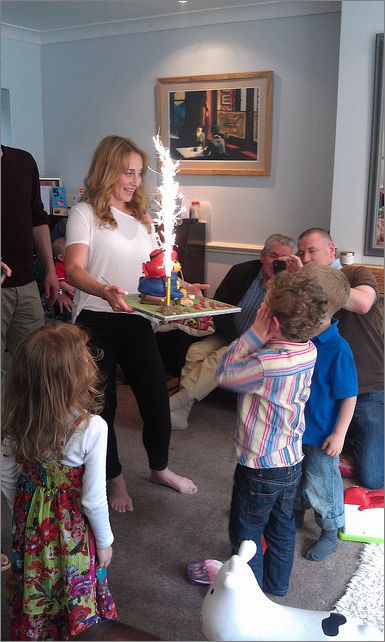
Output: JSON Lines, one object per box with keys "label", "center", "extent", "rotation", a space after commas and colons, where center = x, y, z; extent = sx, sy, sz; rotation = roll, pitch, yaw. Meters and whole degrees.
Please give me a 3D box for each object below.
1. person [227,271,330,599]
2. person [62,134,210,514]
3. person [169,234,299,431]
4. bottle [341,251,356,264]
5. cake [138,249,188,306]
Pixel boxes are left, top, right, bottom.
{"label": "person", "center": [0.197, 0.300, 1.333], "extent": [0.247, 0.832, 0.191], "rotation": [-3, 12, -15]}
{"label": "person", "center": [-0.202, 0.040, 1.805], "extent": [0.456, 1.287, 0.467], "rotation": [-6, 11, -37]}
{"label": "person", "center": [0.184, 0.084, 2.796], "extent": [0.386, 0.929, 0.763], "rotation": [37, 47, 26]}
{"label": "bottle", "center": [0.899, -0.355, 2.947], "extent": [0.075, 0.064, 0.075], "rotation": [1, 14, 21]}
{"label": "cake", "center": [-0.109, -0.138, 1.718], "extent": [0.162, 0.161, 0.151], "rotation": [18, 8, 7]}
